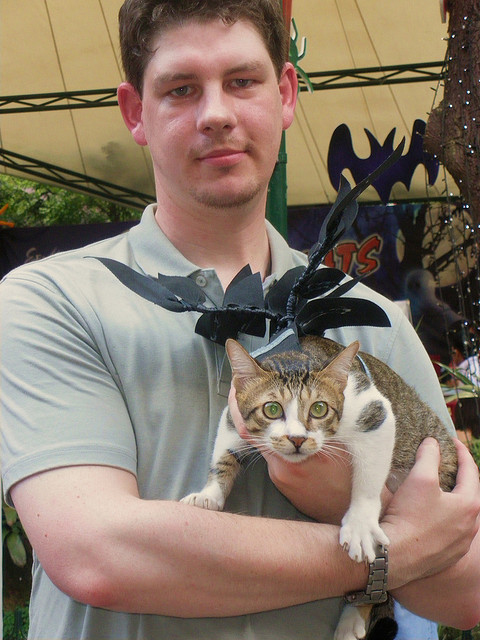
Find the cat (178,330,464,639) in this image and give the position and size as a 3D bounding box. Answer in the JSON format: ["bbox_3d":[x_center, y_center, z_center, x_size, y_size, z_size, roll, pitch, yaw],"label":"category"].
[{"bbox_3d":[0.326,0.327,2.320,0.755,0.556,1.047,19,39,15],"label":"cat"}]
